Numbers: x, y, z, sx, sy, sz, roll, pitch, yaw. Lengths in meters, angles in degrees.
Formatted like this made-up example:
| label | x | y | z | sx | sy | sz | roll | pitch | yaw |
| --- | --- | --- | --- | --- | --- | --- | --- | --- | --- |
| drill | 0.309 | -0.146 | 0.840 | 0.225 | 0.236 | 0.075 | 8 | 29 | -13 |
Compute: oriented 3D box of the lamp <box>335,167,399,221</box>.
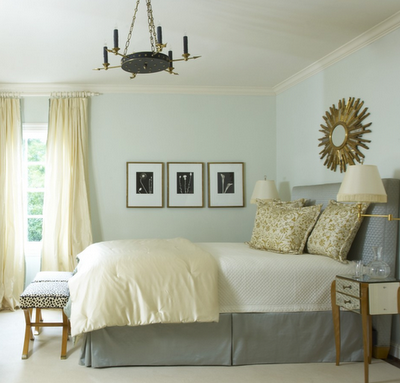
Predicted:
| label | x | y | z | sx | sy | sz | roll | pitch | yaw |
| --- | --- | --- | --- | --- | --- | --- | --- | --- | --- |
| lamp | 1.293 | 0.018 | 3.490 | 0.460 | 0.406 | 0.334 | 1 | -3 | 20 |

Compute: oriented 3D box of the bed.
| label | x | y | z | sx | sy | sz | roll | pitch | yaw |
| --- | --- | --- | --- | --- | --- | --- | --- | --- | --- |
| bed | 0.358 | 0.507 | 4.083 | 1.847 | 1.340 | 1.606 | 0 | -3 | -6 |

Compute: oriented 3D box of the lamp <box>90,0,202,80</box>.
| label | x | y | z | sx | sy | sz | roll | pitch | yaw |
| --- | --- | --- | --- | --- | --- | --- | --- | --- | --- |
| lamp | -0.406 | -1.006 | 3.369 | 0.638 | 0.779 | 0.774 | -3 | 5 | -26 |

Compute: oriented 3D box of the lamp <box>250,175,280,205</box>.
| label | x | y | z | sx | sy | sz | roll | pitch | yaw |
| --- | --- | --- | --- | --- | --- | --- | --- | --- | --- |
| lamp | 0.772 | -0.012 | 5.252 | 0.281 | 0.342 | 0.286 | -4 | 6 | -39 |

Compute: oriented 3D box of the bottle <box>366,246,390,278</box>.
| label | x | y | z | sx | sy | sz | roll | pitch | yaw |
| --- | --- | --- | --- | --- | --- | --- | --- | --- | --- |
| bottle | 1.317 | 0.547 | 3.397 | 0.170 | 0.299 | 0.185 | 3 | -3 | 0 |

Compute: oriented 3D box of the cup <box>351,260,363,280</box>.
| label | x | y | z | sx | sy | sz | roll | pitch | yaw |
| --- | --- | --- | --- | --- | --- | --- | --- | --- | --- |
| cup | 1.174 | 0.600 | 3.379 | 0.094 | 0.186 | 0.107 | -1 | 0 | -5 |
